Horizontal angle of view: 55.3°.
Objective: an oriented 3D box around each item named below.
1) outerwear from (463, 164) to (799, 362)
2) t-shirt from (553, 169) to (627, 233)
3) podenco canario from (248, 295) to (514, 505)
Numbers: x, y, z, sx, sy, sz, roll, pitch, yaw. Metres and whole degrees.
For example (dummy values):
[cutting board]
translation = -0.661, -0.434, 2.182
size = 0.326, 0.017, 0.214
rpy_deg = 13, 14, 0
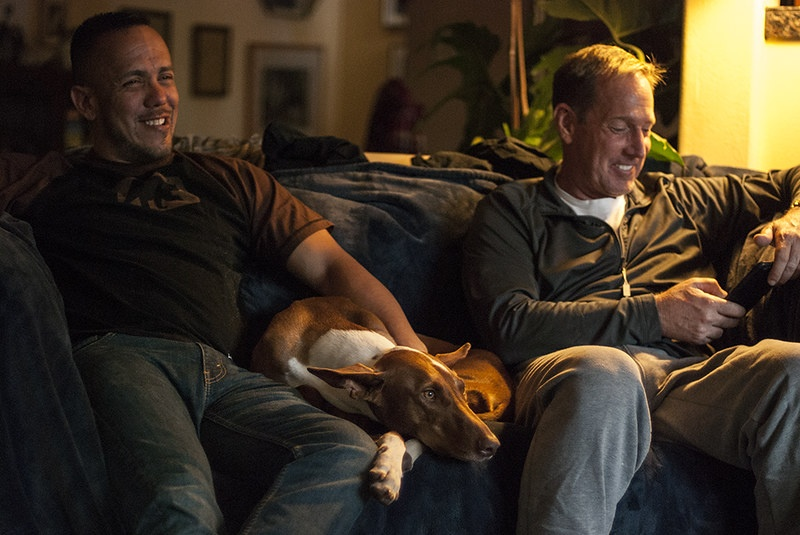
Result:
[outerwear]
translation = 0.695, -0.051, 2.641
size = 1.198, 0.570, 0.661
rpy_deg = -4, 22, -20
[t-shirt]
translation = 0.685, -0.227, 2.744
size = 0.196, 0.114, 0.179
rpy_deg = 23, 9, -5
[podenco canario]
translation = -0.027, 0.338, 2.375
size = 0.878, 0.337, 0.940
rpy_deg = 1, 16, -34
